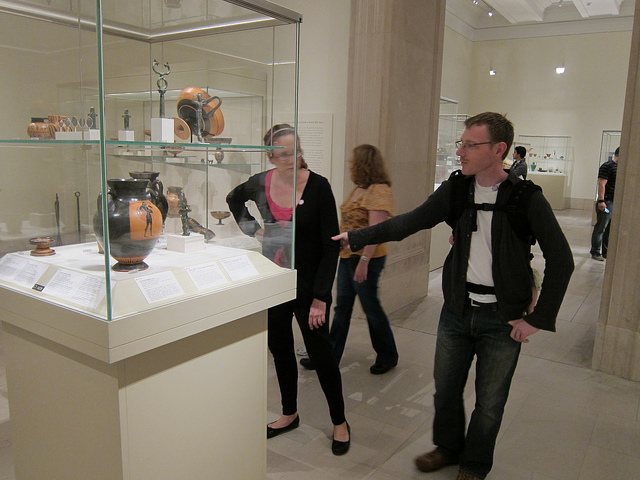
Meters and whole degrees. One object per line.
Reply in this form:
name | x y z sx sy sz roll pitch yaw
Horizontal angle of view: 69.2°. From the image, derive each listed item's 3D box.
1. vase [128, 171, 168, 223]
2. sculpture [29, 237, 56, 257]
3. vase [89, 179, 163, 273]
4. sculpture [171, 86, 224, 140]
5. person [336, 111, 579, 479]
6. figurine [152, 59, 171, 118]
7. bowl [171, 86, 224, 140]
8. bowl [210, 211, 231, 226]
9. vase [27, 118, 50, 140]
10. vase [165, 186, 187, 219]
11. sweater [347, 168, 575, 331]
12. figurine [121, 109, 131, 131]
vase | -0.604 -0.166 1.805 0.143 0.217 0.157 6 13 23
sculpture | -1.171 0.031 1.964 0.087 0.067 0.090 -2 -1 28
vase | -0.747 -0.062 1.831 0.259 0.339 0.288 1 8 -9
sculpture | -0.490 -0.501 1.884 0.174 0.208 0.149 32 32 -16
person | 0.835 0.380 2.588 0.513 2.121 0.890 -10 14 -36
figurine | -0.617 -0.591 1.810 0.059 0.222 0.113 -3 12 -6
bowl | -0.501 -0.514 1.873 0.077 0.206 0.223 8 15 37
bowl | -0.441 -0.098 2.072 0.018 0.073 0.109 6 14 33
vase | -1.198 -0.478 1.986 0.148 0.090 0.045 8 15 39
vase | -0.597 -0.159 1.924 0.103 0.141 0.105 15 17 31
sweater | 0.803 0.010 2.714 1.224 0.810 0.627 4 8 33
figurine | -0.685 -0.428 1.648 0.012 0.070 0.037 0 12 9
